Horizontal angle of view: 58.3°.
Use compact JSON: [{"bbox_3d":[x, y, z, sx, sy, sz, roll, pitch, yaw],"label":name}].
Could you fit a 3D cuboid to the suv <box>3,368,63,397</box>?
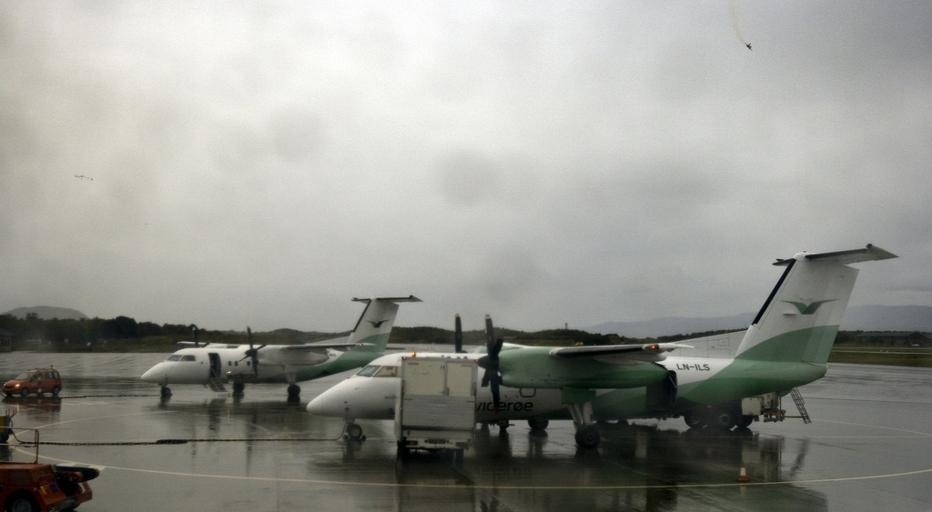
[{"bbox_3d":[-28.531,8.438,55.140,3.480,1.439,1.940,6,-8,-41],"label":"suv"}]
